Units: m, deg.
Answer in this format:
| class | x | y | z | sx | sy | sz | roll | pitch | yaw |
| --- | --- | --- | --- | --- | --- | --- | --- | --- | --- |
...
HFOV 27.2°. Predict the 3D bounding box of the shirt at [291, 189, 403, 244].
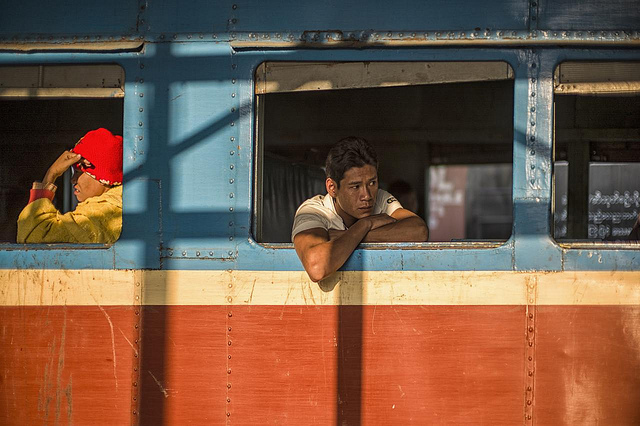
| class | x | y | z | sx | sy | sz | roll | pitch | yaw |
| --- | --- | --- | --- | --- | --- | --- | --- | --- | --- |
| shirt | 0.192 | 0.024 | 10.089 | 0.796 | 0.453 | 0.390 | 2 | -6 | 0 |
